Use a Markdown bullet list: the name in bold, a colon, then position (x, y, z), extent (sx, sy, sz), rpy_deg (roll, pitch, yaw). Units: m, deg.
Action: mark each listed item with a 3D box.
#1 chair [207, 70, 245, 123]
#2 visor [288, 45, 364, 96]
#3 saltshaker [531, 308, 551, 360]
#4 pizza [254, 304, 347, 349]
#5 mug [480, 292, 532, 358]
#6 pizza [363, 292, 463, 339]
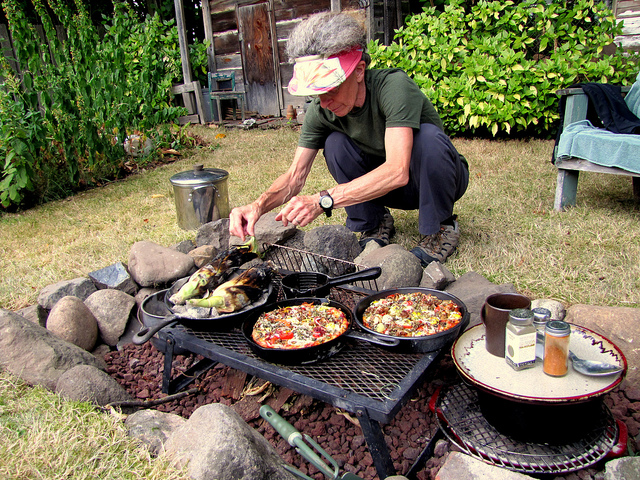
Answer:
- **chair**: position (-1.869, -2.889, 9.474), extent (0.638, 0.949, 0.606), rpy_deg (-14, 24, -31)
- **visor**: position (0.034, -0.930, 2.583), extent (0.418, 0.234, 0.284), rpy_deg (-3, 21, 8)
- **saltshaker**: position (0.882, 0.376, 1.886), extent (0.061, 0.179, 0.098), rpy_deg (6, 24, 27)
- **pizza**: position (-0.090, 0.384, 2.170), extent (0.424, 0.043, 0.348), rpy_deg (-8, 21, -5)
- **mug**: position (0.766, 0.346, 1.966), extent (0.167, 0.223, 0.182), rpy_deg (15, 29, 42)
- **pizza**: position (0.446, 0.338, 2.202), extent (0.445, 0.463, 0.047), rpy_deg (-6, 53, 12)
